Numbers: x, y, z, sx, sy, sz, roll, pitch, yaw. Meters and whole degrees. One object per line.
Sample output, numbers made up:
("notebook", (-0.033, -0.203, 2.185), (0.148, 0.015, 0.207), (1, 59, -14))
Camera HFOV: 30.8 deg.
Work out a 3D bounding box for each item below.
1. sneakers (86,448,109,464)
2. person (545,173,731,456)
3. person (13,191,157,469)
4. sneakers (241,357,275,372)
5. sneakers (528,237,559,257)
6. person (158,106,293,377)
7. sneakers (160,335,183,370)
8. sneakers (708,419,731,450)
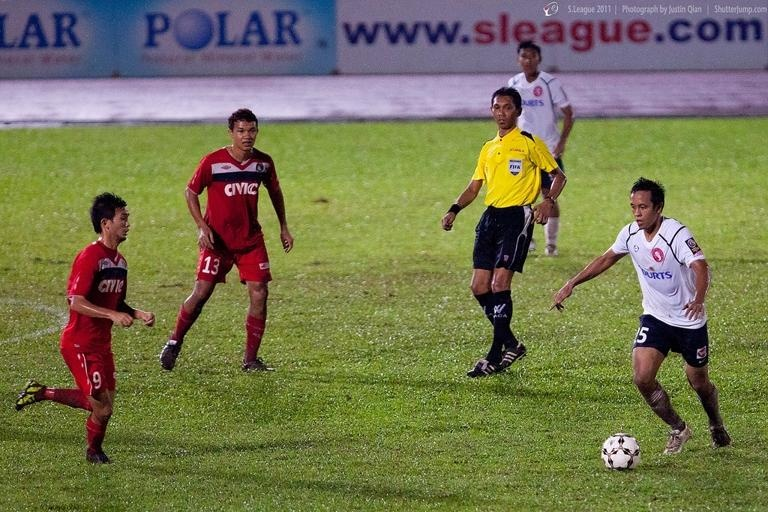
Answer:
("sneakers", (-2.910, 2.022, 13.959), (0.240, 0.091, 0.119), (5, 8, 20))
("person", (2.786, 0.789, 14.057), (1.384, 2.419, 0.596), (1, 10, 18))
("person", (-3.022, 0.735, 14.031), (1.218, 2.666, 0.968), (-4, 10, -15))
("sneakers", (-1.454, 1.248, 15.661), (0.403, 0.153, 0.137), (1, 2, 0))
("sneakers", (2.062, -0.101, 18.765), (0.637, 0.248, 0.204), (4, 14, 25))
("person", (-1.769, -0.157, 15.507), (1.415, 2.911, 0.485), (-3, 10, -5))
("sneakers", (-2.439, 1.102, 15.617), (0.180, 0.405, 0.197), (18, -3, -13))
("sneakers", (3.399, 1.824, 14.109), (0.146, 0.134, 0.302), (-21, 36, 19))
